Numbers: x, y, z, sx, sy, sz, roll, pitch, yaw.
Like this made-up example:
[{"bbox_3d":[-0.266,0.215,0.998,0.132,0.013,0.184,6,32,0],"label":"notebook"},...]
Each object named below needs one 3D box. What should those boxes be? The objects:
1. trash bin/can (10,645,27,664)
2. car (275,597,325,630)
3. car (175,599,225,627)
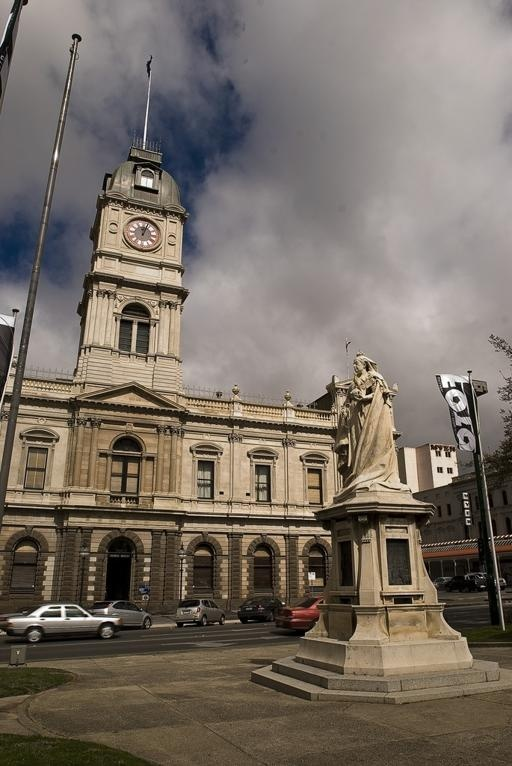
[{"bbox_3d":[-5.667,6.548,13.895,0.320,0.409,0.469,8,-22,-24],"label":"trash bin/can"},{"bbox_3d":[1.753,9.713,23.983,1.745,1.287,2.108,-1,-20,1],"label":"car"},{"bbox_3d":[-3.054,12.177,30.695,1.641,1.322,2.715,-16,-25,35],"label":"car"}]
